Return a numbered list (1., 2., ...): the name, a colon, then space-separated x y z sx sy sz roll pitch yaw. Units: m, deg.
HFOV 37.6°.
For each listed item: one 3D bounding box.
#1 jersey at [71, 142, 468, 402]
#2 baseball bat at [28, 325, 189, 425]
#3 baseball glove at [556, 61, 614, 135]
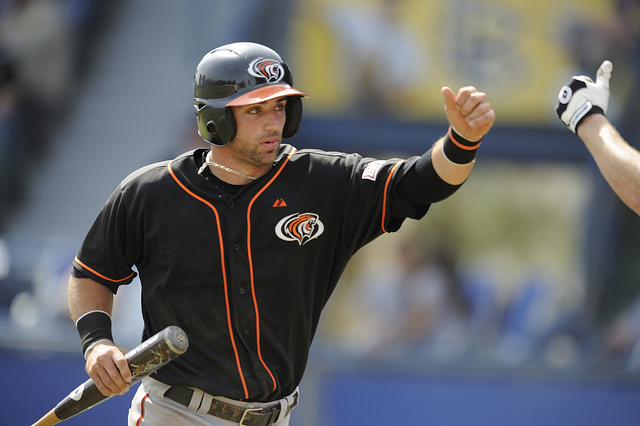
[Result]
1. jersey: -0.278 0.366 5.129 2.281 1.457 0.761 0 5 -8
2. baseball bat: -1.188 0.936 5.374 0.199 1.340 0.184 47 32 -17
3. baseball glove: 1.386 -0.614 4.924 0.186 0.384 0.270 40 -1 -16
